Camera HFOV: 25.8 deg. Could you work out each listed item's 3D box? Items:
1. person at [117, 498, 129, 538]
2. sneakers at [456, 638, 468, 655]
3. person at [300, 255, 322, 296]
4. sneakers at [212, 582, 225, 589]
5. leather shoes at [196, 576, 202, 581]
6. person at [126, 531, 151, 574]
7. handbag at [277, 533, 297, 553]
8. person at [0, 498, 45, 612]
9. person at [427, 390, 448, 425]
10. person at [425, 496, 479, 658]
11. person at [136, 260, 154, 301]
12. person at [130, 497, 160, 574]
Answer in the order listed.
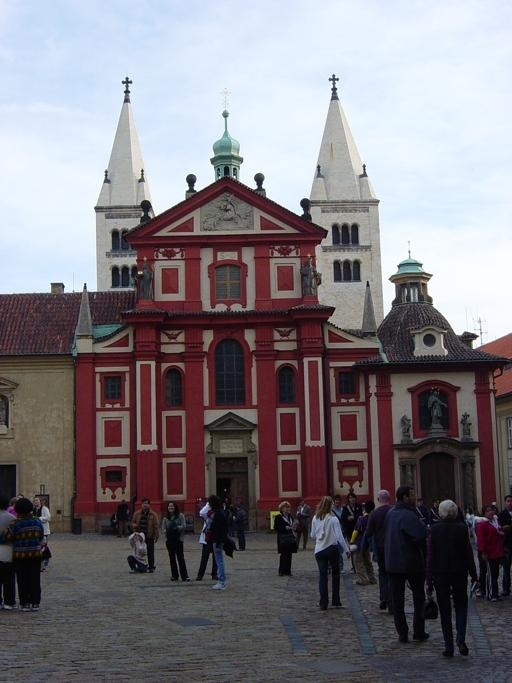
[{"bbox_3d":[-4.573,6.104,38.118,0.402,1.099,0.614,0,-8,-13],"label":"person"},{"bbox_3d":[2.237,3.355,12.166,0.073,0.218,0.152,-12,3,5],"label":"sneakers"},{"bbox_3d":[1.989,-2.379,41.495,0.752,1.621,0.761,0,-8,-9],"label":"person"},{"bbox_3d":[-0.639,4.183,19.036,0.192,0.121,0.279,-1,-8,-2],"label":"sneakers"},{"bbox_3d":[-1.064,4.442,20.760,0.147,0.101,0.049,1,-11,3],"label":"leather shoes"},{"bbox_3d":[-2.440,4.382,23.110,0.425,0.836,0.624,-1,-8,-7],"label":"person"},{"bbox_3d":[0.580,3.906,21.479,0.335,0.382,0.328,-1,-8,-1],"label":"handbag"},{"bbox_3d":[-3.396,3.106,16.184,0.590,1.584,0.400,0,-8,-13],"label":"person"},{"bbox_3d":[6.681,2.539,41.640,0.684,1.558,0.990,-5,-9,22],"label":"person"},{"bbox_3d":[2.220,2.693,12.774,0.550,1.700,1.116,-3,-8,11],"label":"person"},{"bbox_3d":[-4.106,-2.241,41.202,0.617,1.638,0.670,-1,-8,-6],"label":"person"},{"bbox_3d":[-2.341,4.112,23.543,0.543,1.530,0.532,-5,-10,13],"label":"person"}]
